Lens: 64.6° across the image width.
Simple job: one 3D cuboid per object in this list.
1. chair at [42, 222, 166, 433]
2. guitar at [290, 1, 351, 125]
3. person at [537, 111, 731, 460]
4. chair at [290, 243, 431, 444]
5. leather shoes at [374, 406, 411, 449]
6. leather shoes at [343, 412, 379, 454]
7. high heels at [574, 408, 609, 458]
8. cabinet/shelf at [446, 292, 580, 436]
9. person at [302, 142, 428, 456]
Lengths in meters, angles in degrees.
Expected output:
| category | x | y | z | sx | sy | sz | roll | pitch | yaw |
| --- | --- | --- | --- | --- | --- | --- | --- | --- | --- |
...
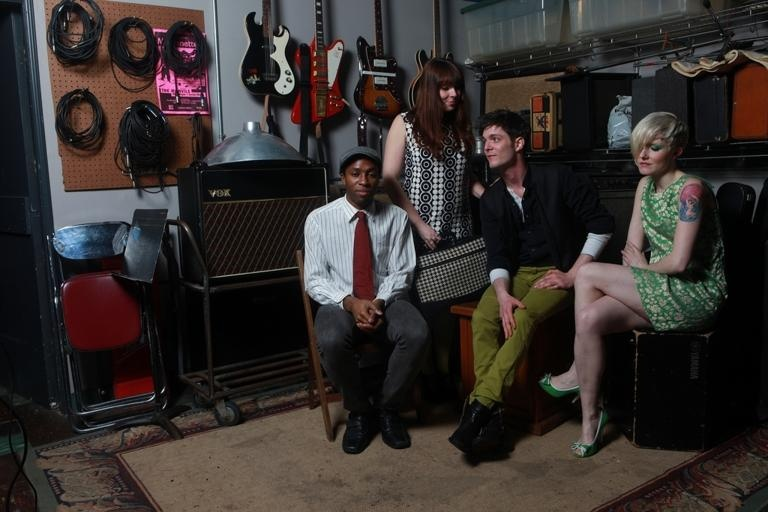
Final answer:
| category | x | y | z | sx | sy | sz | roll | pitch | yaw |
| --- | --- | --- | --- | --- | --- | --- | --- | --- | --- |
| chair | -1.640 | 0.405 | 3.732 | 0.722 | 1.183 | 0.723 | -12 | 18 | -23 |
| guitar | -0.483 | -1.410 | 4.464 | 0.298 | 0.849 | 0.553 | 6 | 20 | 33 |
| person | 1.354 | 0.138 | 3.197 | 0.947 | 1.679 | 0.431 | -9 | 17 | -15 |
| chair | -0.062 | 0.438 | 4.004 | 0.745 | 1.460 | 1.027 | -9 | 11 | -17 |
| leather shoes | 0.050 | 0.940 | 3.367 | 0.106 | 0.091 | 0.243 | -4 | 20 | -22 |
| leather shoes | -0.145 | 0.955 | 3.396 | 0.136 | 0.158 | 0.277 | 2 | 19 | 22 |
| high heels | 1.124 | 0.929 | 3.293 | 0.336 | 0.171 | 0.104 | -23 | 17 | -38 |
| cabinet/shelf | 0.711 | 0.442 | 3.763 | 0.867 | 0.909 | 0.652 | 6 | 11 | 43 |
| person | -0.121 | 0.227 | 3.383 | 0.657 | 1.570 | 0.595 | -6 | 16 | -4 |
